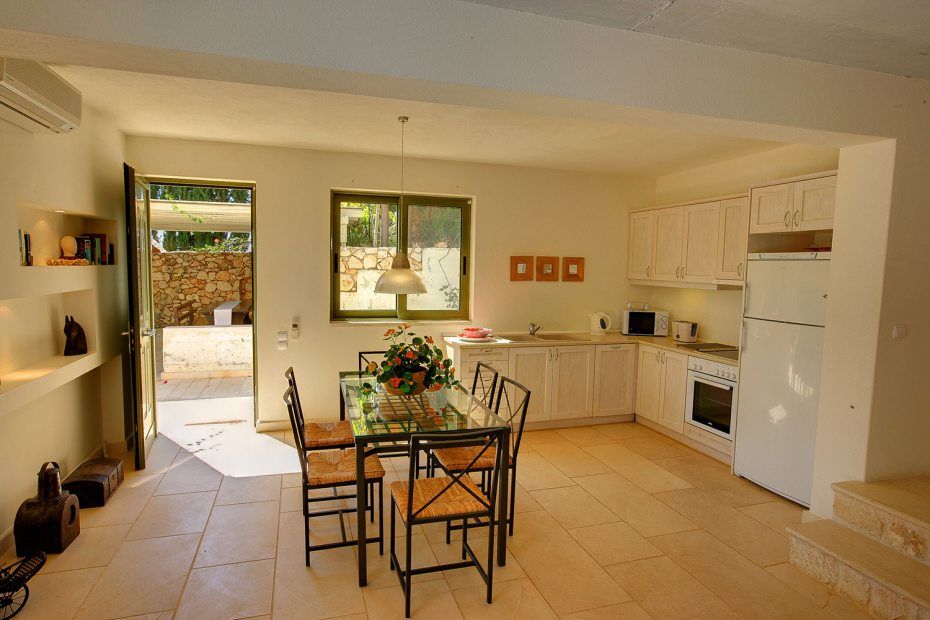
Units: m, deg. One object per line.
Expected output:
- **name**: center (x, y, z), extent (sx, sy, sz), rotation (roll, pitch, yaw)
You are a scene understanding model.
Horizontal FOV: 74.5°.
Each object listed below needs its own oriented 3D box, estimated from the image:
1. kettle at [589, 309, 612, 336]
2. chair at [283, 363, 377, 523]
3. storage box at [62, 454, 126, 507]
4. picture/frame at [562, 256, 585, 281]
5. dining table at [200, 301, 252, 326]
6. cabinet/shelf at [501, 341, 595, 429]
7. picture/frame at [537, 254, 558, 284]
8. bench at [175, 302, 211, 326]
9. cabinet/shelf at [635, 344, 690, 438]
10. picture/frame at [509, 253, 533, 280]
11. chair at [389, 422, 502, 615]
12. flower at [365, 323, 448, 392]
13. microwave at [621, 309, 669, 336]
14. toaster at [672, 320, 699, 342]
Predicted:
- **kettle**: center (1.565, 0.144, 6.929), extent (0.191, 0.259, 0.295), rotation (-5, 8, -30)
- **chair**: center (-1.091, 1.081, 4.859), extent (0.668, 0.998, 1.054), rotation (-4, 11, -16)
- **storage box**: center (-2.971, 1.342, 4.835), extent (0.323, 0.189, 0.400), rotation (-1, 9, -8)
- **picture/frame**: center (1.220, -0.488, 6.960), extent (0.313, 0.303, 0.032), rotation (-1, 3, -19)
- **dining table**: center (-4.027, 0.101, 10.444), extent (0.791, 0.413, 3.206), rotation (-2, 4, -23)
- **cabinet/shelf**: center (0.816, 0.722, 6.226), extent (0.985, 0.784, 0.360), rotation (-1, 2, -15)
- **picture/frame**: center (0.918, -0.479, 6.878), extent (0.363, 0.335, 0.035), rotation (0, 2, -19)
- **bench**: center (-5.229, 0.068, 11.701), extent (0.527, 0.248, 0.737), rotation (8, 15, 26)
- **cabinet/shelf**: center (2.029, 0.823, 6.212), extent (0.326, 0.853, 0.880), rotation (-3, 8, -23)
- **picture/frame**: center (0.611, -0.498, 6.784), extent (0.323, 0.299, 0.032), rotation (-1, 2, -20)
- **chair**: center (-0.138, 1.315, 4.314), extent (0.822, 1.138, 1.085), rotation (-1, 5, -6)
- **flower**: center (-0.416, 0.404, 4.699), extent (0.599, 0.395, 0.629), rotation (-3, 10, -22)
- **microwave**: center (1.985, 0.146, 6.721), extent (0.450, 0.283, 0.289), rotation (0, 2, -3)
- **toaster**: center (2.333, 0.211, 6.480), extent (0.194, 0.216, 0.317), rotation (-6, 10, -28)
